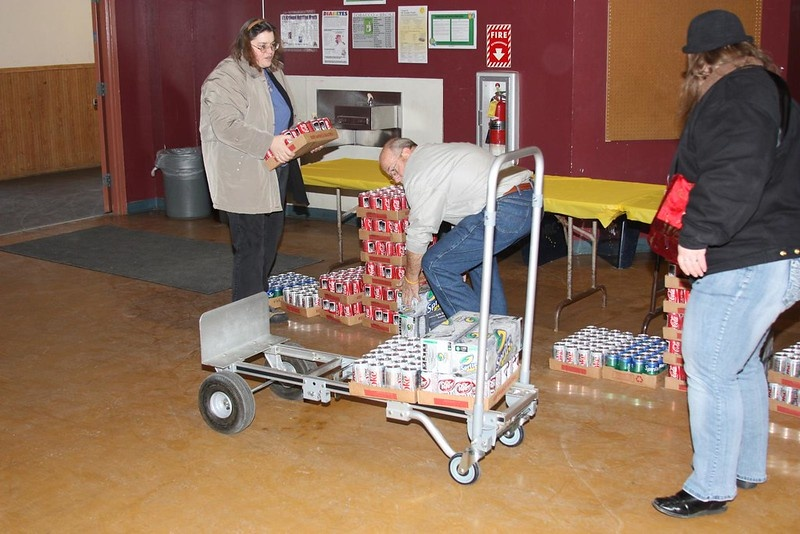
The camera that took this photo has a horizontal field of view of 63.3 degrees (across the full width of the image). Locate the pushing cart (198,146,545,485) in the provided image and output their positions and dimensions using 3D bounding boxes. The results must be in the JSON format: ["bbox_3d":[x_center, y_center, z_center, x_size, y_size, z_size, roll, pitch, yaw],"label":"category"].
[{"bbox_3d":[-0.197,0.213,3.792,1.977,1.595,0.990,4,7,28],"label":"pushing cart"}]

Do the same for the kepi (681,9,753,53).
[{"bbox_3d":[1.401,-1.067,2.924,0.334,0.143,0.246,-6,23,12],"label":"kepi"}]

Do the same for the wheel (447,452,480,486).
[{"bbox_3d":[0.333,1.047,3.385,0.172,0.160,0.060,24,26,24],"label":"wheel"}]

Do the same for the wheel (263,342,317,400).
[{"bbox_3d":[-0.683,0.642,4.002,0.330,0.307,0.174,18,27,33],"label":"wheel"}]

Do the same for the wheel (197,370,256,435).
[{"bbox_3d":[-1.045,0.815,3.896,0.388,0.359,0.140,6,10,31],"label":"wheel"}]

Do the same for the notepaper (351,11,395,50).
[{"bbox_3d":[-0.327,-2.761,7.645,0.614,0.404,0.012,13,24,30],"label":"notepaper"}]

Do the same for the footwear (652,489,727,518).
[{"bbox_3d":[1.400,1.158,3.206,0.353,0.134,0.134,2,10,4],"label":"footwear"}]

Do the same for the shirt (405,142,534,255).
[{"bbox_3d":[0.410,-0.365,4.188,0.734,0.406,0.779,6,49,22],"label":"shirt"}]

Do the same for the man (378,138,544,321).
[{"bbox_3d":[0.412,-0.175,4.537,1.069,1.371,0.985,-8,18,-12],"label":"man"}]

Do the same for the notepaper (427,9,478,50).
[{"bbox_3d":[0.592,-2.612,7.145,0.526,0.343,0.019,7,15,33],"label":"notepaper"}]
